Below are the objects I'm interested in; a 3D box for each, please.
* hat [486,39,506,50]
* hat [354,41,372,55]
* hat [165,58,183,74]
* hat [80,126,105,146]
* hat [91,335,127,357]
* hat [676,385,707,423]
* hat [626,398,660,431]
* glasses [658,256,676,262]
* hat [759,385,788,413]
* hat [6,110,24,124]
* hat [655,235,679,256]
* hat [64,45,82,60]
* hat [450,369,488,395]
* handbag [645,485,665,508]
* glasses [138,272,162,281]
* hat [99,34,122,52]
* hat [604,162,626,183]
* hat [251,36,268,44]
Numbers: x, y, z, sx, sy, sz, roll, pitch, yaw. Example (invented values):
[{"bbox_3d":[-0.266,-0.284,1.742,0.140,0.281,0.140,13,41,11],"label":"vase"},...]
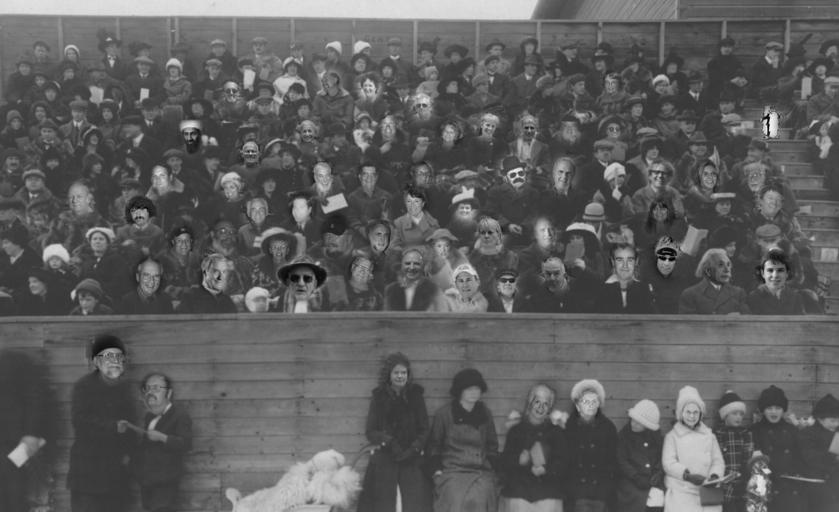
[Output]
[{"bbox_3d":[1.397,-3.859,32.617,0.234,0.089,0.235,5,-33,-3],"label":"hat"},{"bbox_3d":[-1.071,-3.824,32.730,0.337,0.226,0.233,6,-3,4],"label":"hat"},{"bbox_3d":[-4.519,-3.489,32.454,0.241,0.240,0.103,-3,2,-2],"label":"hat"},{"bbox_3d":[-5.980,-2.157,32.415,0.446,0.364,0.289,-1,-9,9],"label":"hat"},{"bbox_3d":[-5.511,1.599,31.159,0.467,0.278,0.439,0,-3,3],"label":"hat"},{"bbox_3d":[4.708,2.590,31.112,0.495,0.566,0.255,4,-7,-5],"label":"hat"},{"bbox_3d":[3.997,2.780,31.142,0.550,0.323,0.513,34,11,6],"label":"hat"},{"bbox_3d":[4.416,0.063,31.586,0.312,0.105,0.049,1,-4,-8],"label":"glasses"},{"bbox_3d":[6.194,2.511,31.127,0.390,0.357,0.472,-1,-38,15],"label":"hat"},{"bbox_3d":[-7.439,-2.548,32.397,0.240,0.190,0.262,-1,8,-4],"label":"hat"},{"bbox_3d":[4.424,-0.181,31.657,0.424,0.326,0.120,1,-4,4],"label":"hat"},{"bbox_3d":[-6.391,-3.728,32.544,0.244,0.270,0.296,0,20,-4],"label":"hat"},{"bbox_3d":[0.825,2.273,31.148,0.543,0.293,0.502,1,-14,-17],"label":"hat"},{"bbox_3d":[4.122,4.242,30.992,0.307,0.359,0.063,1,-4,-4],"label":"handbag"},{"bbox_3d":[-4.805,0.383,31.507,0.390,0.130,0.061,0,-4,8],"label":"glasses"},{"bbox_3d":[-5.708,-3.917,32.545,0.330,0.097,0.325,-23,-30,24],"label":"hat"},{"bbox_3d":[3.503,-1.504,32.079,0.392,0.276,0.294,-22,2,8],"label":"hat"},{"bbox_3d":[-2.978,-3.955,32.534,0.196,0.148,0.064,-1,-1,-3],"label":"hat"}]
